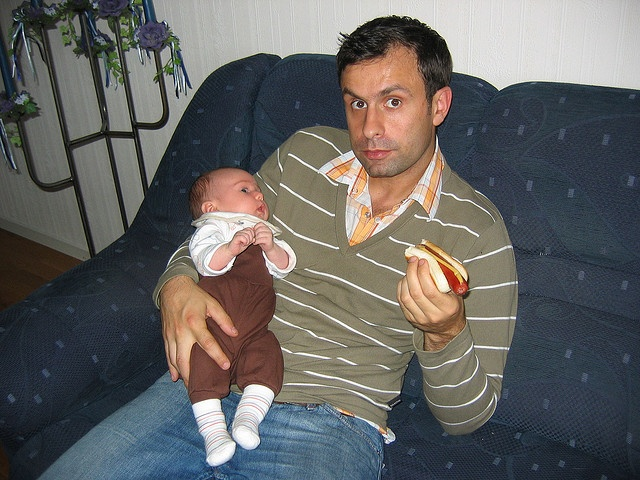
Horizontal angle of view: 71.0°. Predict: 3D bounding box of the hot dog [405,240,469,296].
[{"bbox_3d":[0.283,0.061,1.057,0.117,0.058,0.168,-10,30,-29],"label":"hot dog"}]
